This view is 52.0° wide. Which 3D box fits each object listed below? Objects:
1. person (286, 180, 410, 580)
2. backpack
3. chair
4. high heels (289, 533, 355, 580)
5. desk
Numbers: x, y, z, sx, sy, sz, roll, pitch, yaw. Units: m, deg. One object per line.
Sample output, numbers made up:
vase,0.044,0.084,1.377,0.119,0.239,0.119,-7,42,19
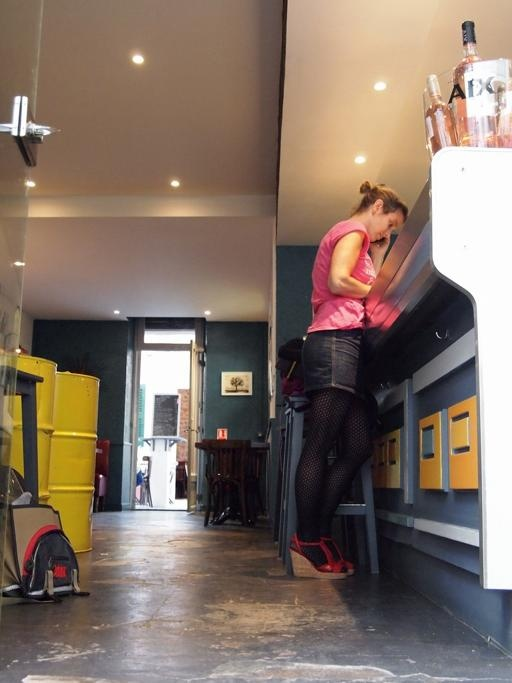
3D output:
person,0.308,0.092,1.854,0.422,1.410,0.418,-6,-9,36
backpack,-0.565,0.632,1.502,0.119,0.191,0.188,-8,-19,27
chair,-0.253,1.449,5.305,0.485,0.782,0.596,-4,-18,15
high heels,0.217,0.735,1.808,0.196,0.141,0.118,-1,-13,8
desk,-0.279,1.428,5.330,0.552,0.810,0.621,-2,-10,-18
